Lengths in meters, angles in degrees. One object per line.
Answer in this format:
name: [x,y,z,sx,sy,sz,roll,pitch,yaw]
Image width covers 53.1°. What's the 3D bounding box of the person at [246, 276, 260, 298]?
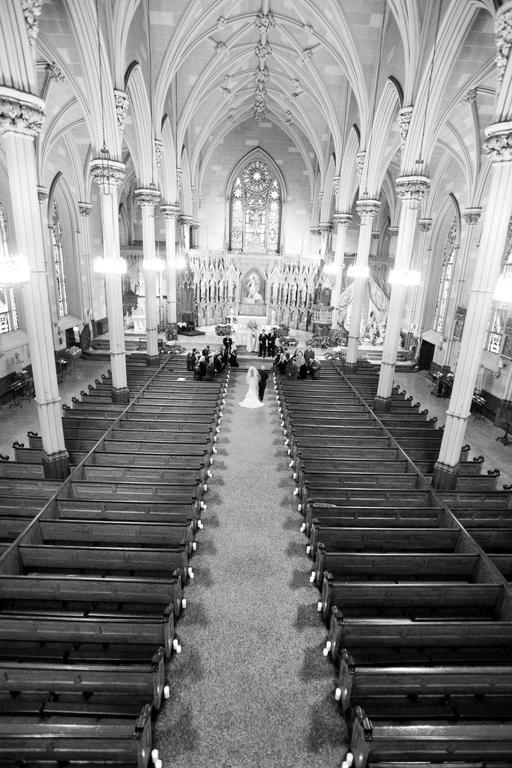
person: [-0.208,-5.721,30.106,0.930,1.745,0.901,3,28,4]
